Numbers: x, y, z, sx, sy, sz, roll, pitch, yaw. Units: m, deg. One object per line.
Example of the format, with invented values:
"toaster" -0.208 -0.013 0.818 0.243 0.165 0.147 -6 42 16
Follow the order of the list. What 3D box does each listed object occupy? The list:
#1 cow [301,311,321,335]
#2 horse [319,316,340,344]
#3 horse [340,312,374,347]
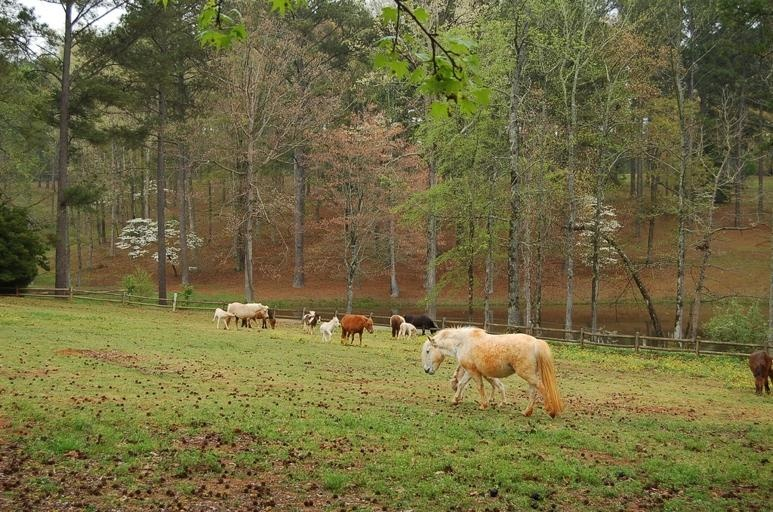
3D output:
"cow" -5.306 4.660 62.453 0.970 1.489 1.943 3 -5 -8
"horse" -3.828 4.848 59.564 1.110 1.612 1.805 2 -5 -1
"horse" -2.133 4.904 59.577 1.847 2.046 3.806 2 -5 -2
